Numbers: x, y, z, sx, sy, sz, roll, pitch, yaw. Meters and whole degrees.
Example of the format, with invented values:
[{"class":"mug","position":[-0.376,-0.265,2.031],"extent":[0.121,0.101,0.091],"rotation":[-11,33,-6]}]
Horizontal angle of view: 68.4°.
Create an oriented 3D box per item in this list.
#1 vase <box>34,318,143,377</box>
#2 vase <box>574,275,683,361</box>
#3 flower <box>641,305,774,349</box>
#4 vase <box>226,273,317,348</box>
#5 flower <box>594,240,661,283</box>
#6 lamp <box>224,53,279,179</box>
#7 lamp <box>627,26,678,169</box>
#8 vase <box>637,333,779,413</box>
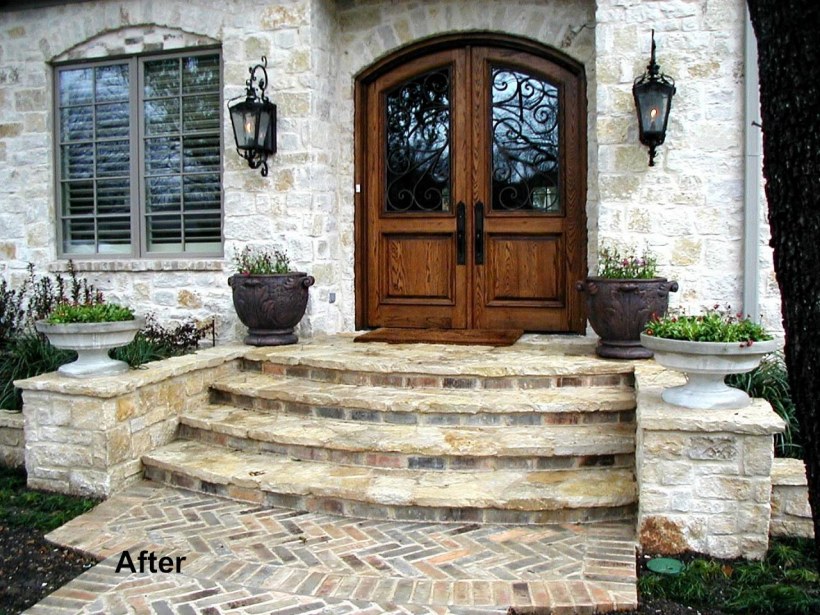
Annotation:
[{"class":"vase","position":[-2.445,0.322,4.649],"extent":[0.748,0.400,0.717],"rotation":[-1,0,-37]},{"class":"vase","position":[1.833,0.089,5.128],"extent":[0.826,0.648,0.714],"rotation":[0,2,9]},{"class":"flower","position":[1.819,0.153,3.746],"extent":[0.690,0.179,0.689],"rotation":[-1,5,24]},{"class":"vase","position":[-1.311,0.028,5.793],"extent":[0.933,0.629,0.636],"rotation":[-1,1,21]},{"class":"flower","position":[1.908,-0.383,5.260],"extent":[0.375,0.245,0.506],"rotation":[0,1,8]},{"class":"lamp","position":[-1.588,-1.915,5.954],"extent":[0.470,1.203,0.486],"rotation":[1,3,11]},{"class":"lamp","position":[2.158,-1.856,5.289],"extent":[0.358,1.199,0.319],"rotation":[2,3,20]},{"class":"vase","position":[1.898,0.403,3.795],"extent":[0.784,0.405,0.832],"rotation":[2,2,41]}]
